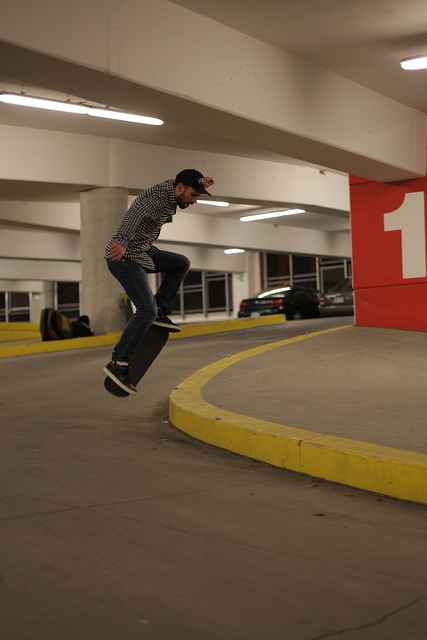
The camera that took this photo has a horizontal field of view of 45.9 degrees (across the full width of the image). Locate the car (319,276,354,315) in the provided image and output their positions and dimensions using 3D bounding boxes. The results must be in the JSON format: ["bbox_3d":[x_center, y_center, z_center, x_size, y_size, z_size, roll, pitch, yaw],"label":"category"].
[{"bbox_3d":[5.693,-1.235,22.305,1.528,1.164,2.584,-3,13,25],"label":"car"}]

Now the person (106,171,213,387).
[{"bbox_3d":[-0.579,-0.362,4.691,0.865,1.947,0.859,-3,2,-36],"label":"person"}]

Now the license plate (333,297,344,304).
[{"bbox_3d":[5.284,-0.839,21.246,0.371,0.189,0.256,-3,4,21],"label":"license plate"}]

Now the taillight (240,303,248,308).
[{"bbox_3d":[1.369,-0.647,22.622,0.217,0.187,0.055,5,11,13],"label":"taillight"}]

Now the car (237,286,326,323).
[{"bbox_3d":[2.942,-0.739,22.341,3.511,1.476,1.820,-2,2,3],"label":"car"}]

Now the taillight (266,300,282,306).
[{"bbox_3d":[2.620,-0.744,21.823,0.690,0.249,0.200,-1,2,12],"label":"taillight"}]

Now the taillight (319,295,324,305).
[{"bbox_3d":[4.658,-0.872,21.738,0.151,0.407,0.327,-2,2,-1],"label":"taillight"}]
